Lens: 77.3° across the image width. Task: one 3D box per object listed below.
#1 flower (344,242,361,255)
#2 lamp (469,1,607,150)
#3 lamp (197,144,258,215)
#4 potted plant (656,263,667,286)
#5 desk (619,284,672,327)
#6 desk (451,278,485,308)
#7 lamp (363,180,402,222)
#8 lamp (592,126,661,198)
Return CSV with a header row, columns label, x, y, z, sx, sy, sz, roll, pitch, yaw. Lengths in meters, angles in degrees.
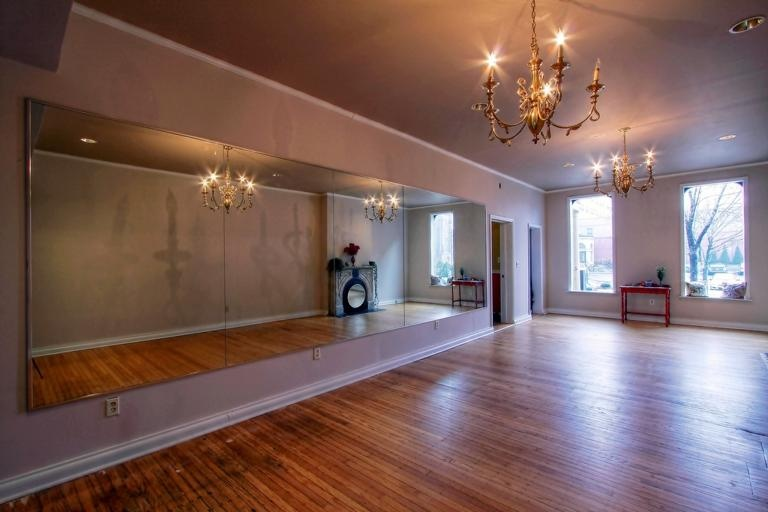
label,x,y,z,sx,sy,sz,roll,pitch,yaw
flower,-0.435,-0.103,6.463,0.148,0.070,0.149,10,2,-33
lamp,1.706,-2.080,5.355,1.298,1.798,1.338,-2,0,-17
lamp,-1.756,-0.844,5.497,0.607,0.797,0.622,0,1,42
potted plant,5.600,0.381,9.727,0.162,0.359,0.212,2,4,29
desk,5.345,0.997,9.768,0.696,0.662,0.301,-3,-6,41
desk,1.436,0.613,8.262,0.497,0.651,0.674,-1,-2,28
lamp,-0.045,-0.777,6.979,0.488,0.688,0.511,0,-4,-10
lamp,4.158,-1.647,8.191,0.746,0.983,0.781,-3,-6,27
